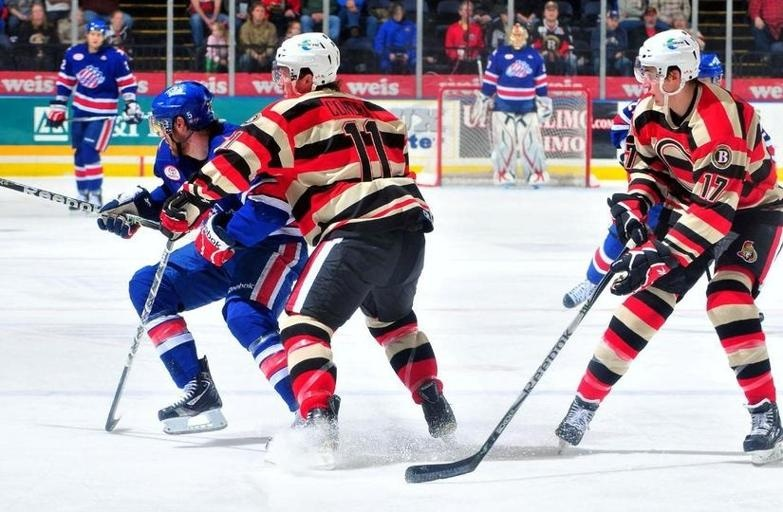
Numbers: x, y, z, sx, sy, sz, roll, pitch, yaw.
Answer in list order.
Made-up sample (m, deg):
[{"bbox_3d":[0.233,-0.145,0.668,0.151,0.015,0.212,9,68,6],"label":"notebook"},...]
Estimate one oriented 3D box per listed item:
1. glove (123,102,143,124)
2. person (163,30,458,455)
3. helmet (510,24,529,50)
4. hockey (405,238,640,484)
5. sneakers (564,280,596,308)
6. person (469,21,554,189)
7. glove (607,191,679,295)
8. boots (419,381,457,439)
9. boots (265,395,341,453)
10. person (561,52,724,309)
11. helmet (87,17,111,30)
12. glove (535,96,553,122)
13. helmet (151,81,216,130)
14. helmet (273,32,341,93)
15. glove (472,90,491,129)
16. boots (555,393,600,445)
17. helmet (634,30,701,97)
[{"bbox_3d":[-2.409,-1.339,10.739,0.186,0.215,0.213,-13,28,-20],"label":"glove"},{"bbox_3d":[-0.331,-0.094,5.258,1.323,1.748,1.145,1,-1,-43],"label":"person"},{"bbox_3d":[1.378,-2.391,12.530,0.166,0.261,0.257,1,8,1],"label":"helmet"},{"bbox_3d":[0.666,0.554,5.899,1.480,0.168,0.186,-38,49,-8],"label":"hockey"},{"bbox_3d":[1.117,0.223,6.871,0.080,0.105,0.250,52,36,12],"label":"sneakers"},{"bbox_3d":[1.365,-1.646,12.805,0.759,1.747,0.532,1,8,6],"label":"person"},{"bbox_3d":[1.111,-0.059,5.273,0.224,0.304,0.451,14,39,-36],"label":"glove"},{"bbox_3d":[0.204,0.690,5.308,0.156,0.263,0.124,-16,11,10],"label":"boots"},{"bbox_3d":[-0.331,0.707,4.978,0.208,0.213,0.172,0,8,-6],"label":"boots"},{"bbox_3d":[1.515,-0.190,6.865,0.600,1.469,0.506,36,26,27],"label":"person"},{"bbox_3d":[-2.668,-2.109,10.492,0.177,0.109,0.282,-1,8,-9],"label":"helmet"},{"bbox_3d":[1.683,-1.670,12.847,0.100,0.250,0.201,0,6,-21],"label":"glove"},{"bbox_3d":[-0.972,-0.720,5.388,0.315,0.200,0.236,1,23,-8],"label":"helmet"},{"bbox_3d":[-0.387,-0.873,5.208,0.337,0.280,0.244,-2,23,-5],"label":"helmet"},{"bbox_3d":[1.002,-1.668,13.134,0.147,0.350,0.281,5,15,-21],"label":"glove"},{"bbox_3d":[0.830,0.737,5.252,0.108,0.315,0.132,33,-19,11],"label":"boots"},{"bbox_3d":[1.249,-0.885,5.240,0.274,0.299,0.249,2,8,14],"label":"helmet"}]
